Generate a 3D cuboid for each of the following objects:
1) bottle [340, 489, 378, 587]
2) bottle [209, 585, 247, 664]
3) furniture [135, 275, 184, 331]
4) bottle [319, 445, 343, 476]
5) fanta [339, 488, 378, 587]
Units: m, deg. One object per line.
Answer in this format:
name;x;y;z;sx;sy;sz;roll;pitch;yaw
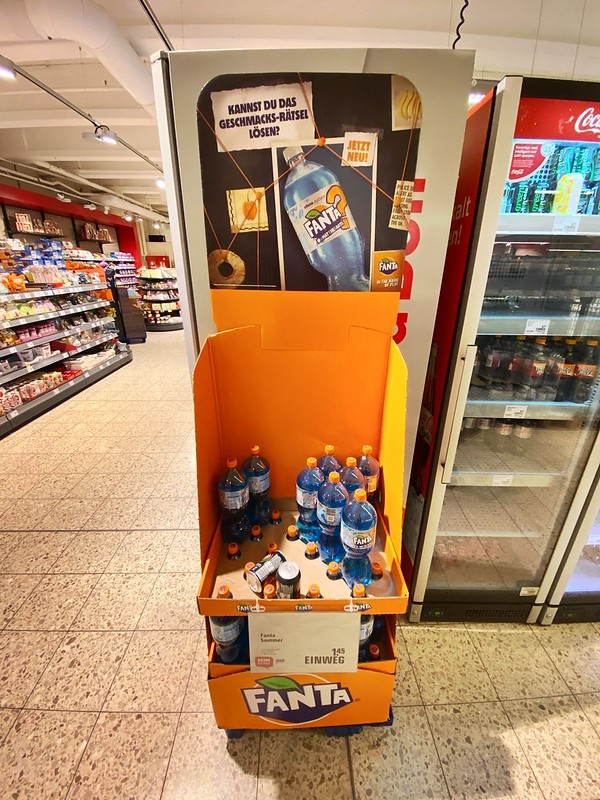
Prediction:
bottle;0.197;0.441;1.866;0.124;0.323;0.248;2;18;7
bottle;-0.246;0.843;1.934;0.108;0.312;0.094;-1;18;16
furniture;-3.072;-2.215;12.202;1.121;1.216;1.171;3;15;16
bottle;0.108;0.225;2.041;0.102;0.165;0.101;-1;0;0
fanta;0.198;0.483;1.871;0.123;0.335;0.123;7;13;27
